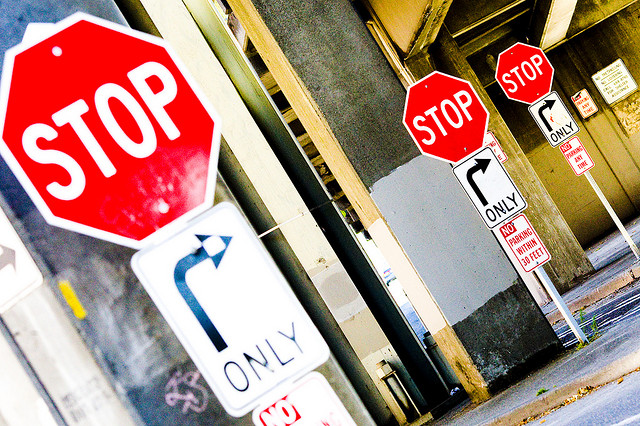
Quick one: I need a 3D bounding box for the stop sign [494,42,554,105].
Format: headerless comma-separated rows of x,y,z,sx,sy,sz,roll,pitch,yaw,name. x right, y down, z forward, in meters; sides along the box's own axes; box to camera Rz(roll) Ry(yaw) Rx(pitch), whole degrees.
2.873,-1.975,11.922,0.719,0.822,0.625,-33,-15,11,stop sign

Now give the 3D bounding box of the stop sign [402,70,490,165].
1.609,-1.211,10.810,0.957,1.078,0.444,-33,-14,8,stop sign
